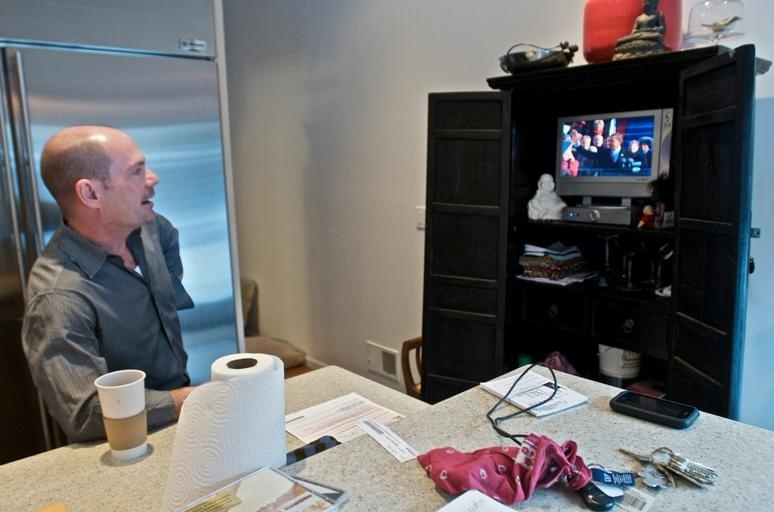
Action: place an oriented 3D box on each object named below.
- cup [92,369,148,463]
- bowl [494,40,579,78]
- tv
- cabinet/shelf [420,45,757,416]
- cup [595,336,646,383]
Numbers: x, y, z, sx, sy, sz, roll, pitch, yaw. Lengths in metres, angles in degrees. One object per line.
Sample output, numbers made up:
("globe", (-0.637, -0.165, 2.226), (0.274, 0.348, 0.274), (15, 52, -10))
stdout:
("cup", (-0.772, 0.469, 1.645), (0.125, 0.248, 0.100), (-12, 17, -31))
("bowl", (0.745, -0.980, 2.769), (0.269, 0.112, 0.212), (3, 18, 14))
("tv", (1.160, -0.527, 2.882), (0.562, 0.427, 0.177), (5, 16, 26))
("cabinet/shelf", (1.025, 0.052, 2.800), (0.852, 1.966, 1.628), (-10, 12, -39))
("cup", (1.211, 0.537, 2.924), (0.218, 0.217, 0.200), (2, 12, 0))
